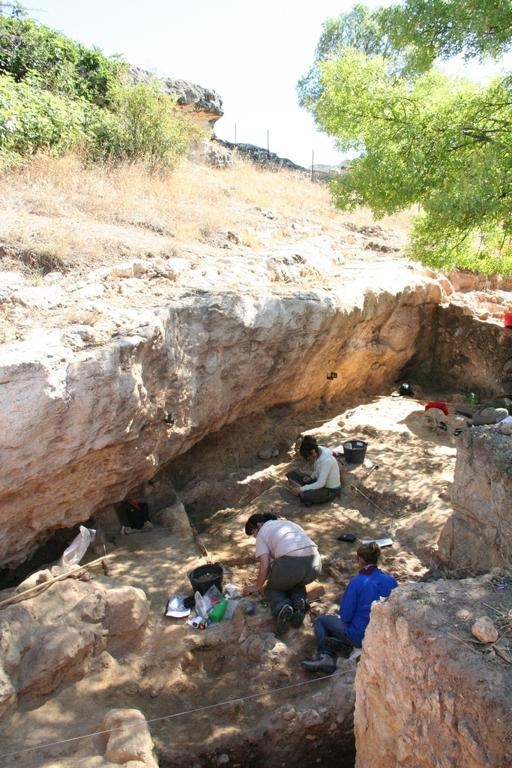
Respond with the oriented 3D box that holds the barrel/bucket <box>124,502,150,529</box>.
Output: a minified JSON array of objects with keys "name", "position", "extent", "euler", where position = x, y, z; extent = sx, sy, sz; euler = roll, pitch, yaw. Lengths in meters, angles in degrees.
[{"name":"barrel/bucket","position":[-1.129,1.241,5.571],"extent":[0.224,0.201,0.420],"euler":[1,10,-11]}]

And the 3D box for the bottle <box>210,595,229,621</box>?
[{"name":"bottle","position":[-0.253,1.549,4.035],"extent":[0.075,0.054,0.139],"euler":[22,30,11]}]

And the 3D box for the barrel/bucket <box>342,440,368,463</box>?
[{"name":"barrel/bucket","position":[1.127,0.771,6.674],"extent":[0.244,0.186,0.249],"euler":[-1,8,0]}]

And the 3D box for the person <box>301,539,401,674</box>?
[{"name":"person","position":[0.586,1.386,3.606],"extent":[0.481,0.735,0.386],"euler":[6,11,15]}]

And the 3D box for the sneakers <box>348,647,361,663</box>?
[{"name":"sneakers","position":[0.602,1.647,3.579],"extent":[0.063,0.076,0.134],"euler":[5,10,9]}]

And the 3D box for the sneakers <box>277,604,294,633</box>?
[{"name":"sneakers","position":[0.175,1.530,3.864],"extent":[0.094,0.191,0.088],"euler":[7,-1,-32]}]

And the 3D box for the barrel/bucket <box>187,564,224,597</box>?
[{"name":"barrel/bucket","position":[-0.370,1.411,4.273],"extent":[0.214,0.219,0.209],"euler":[-1,9,0]}]

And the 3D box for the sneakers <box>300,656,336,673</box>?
[{"name":"sneakers","position":[0.389,1.719,3.584],"extent":[0.210,0.085,0.127],"euler":[3,10,-1]}]

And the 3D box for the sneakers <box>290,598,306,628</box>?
[{"name":"sneakers","position":[0.277,1.520,3.884],"extent":[0.090,0.185,0.087],"euler":[6,-10,-3]}]
